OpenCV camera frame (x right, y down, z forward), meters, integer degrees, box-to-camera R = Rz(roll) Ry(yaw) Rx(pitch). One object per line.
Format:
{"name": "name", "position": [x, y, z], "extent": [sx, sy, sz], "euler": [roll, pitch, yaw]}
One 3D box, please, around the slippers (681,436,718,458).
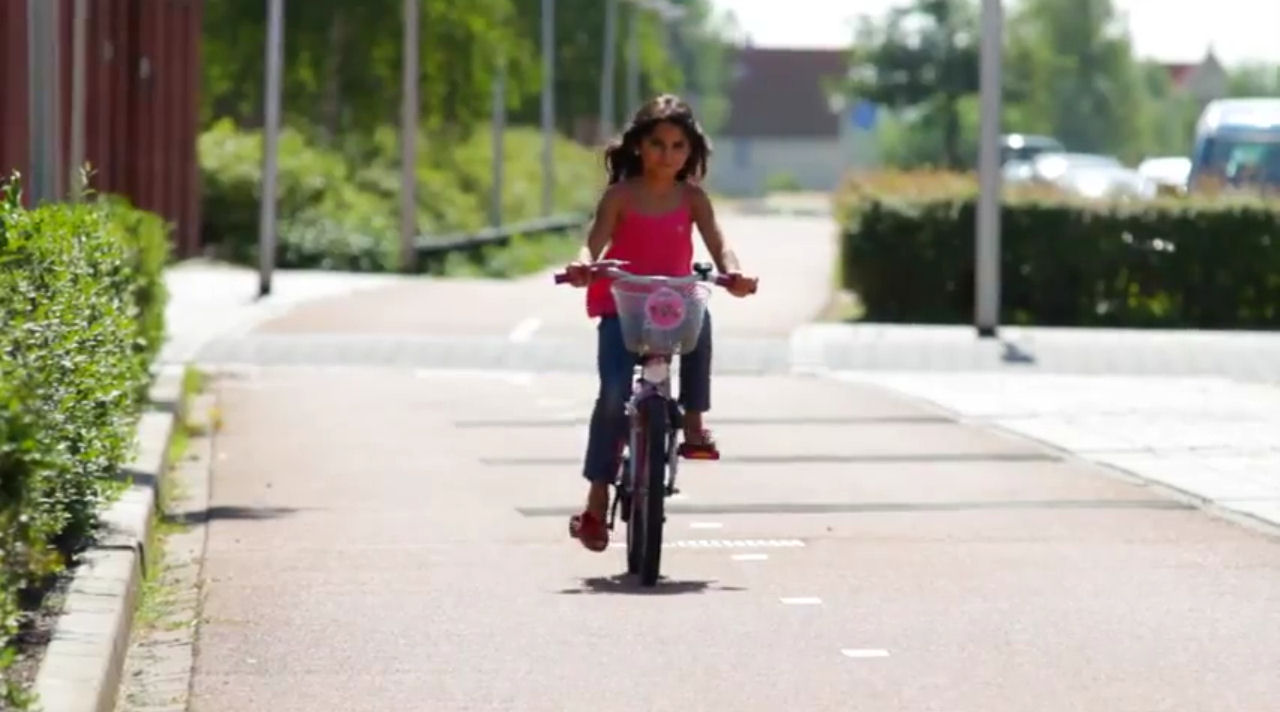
{"name": "slippers", "position": [0.357, 0.558, 9.471], "extent": [0.175, 0.073, 0.107], "euler": [0, 3, -12]}

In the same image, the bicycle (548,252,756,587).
{"name": "bicycle", "position": [0.087, 0.407, 9.329], "extent": [0.683, 1.978, 0.442], "euler": [5, 11, 20]}

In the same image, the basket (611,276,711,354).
{"name": "basket", "position": [0.104, -0.256, 9.147], "extent": [0.437, 0.356, 0.468], "euler": [1, -2, -8]}
